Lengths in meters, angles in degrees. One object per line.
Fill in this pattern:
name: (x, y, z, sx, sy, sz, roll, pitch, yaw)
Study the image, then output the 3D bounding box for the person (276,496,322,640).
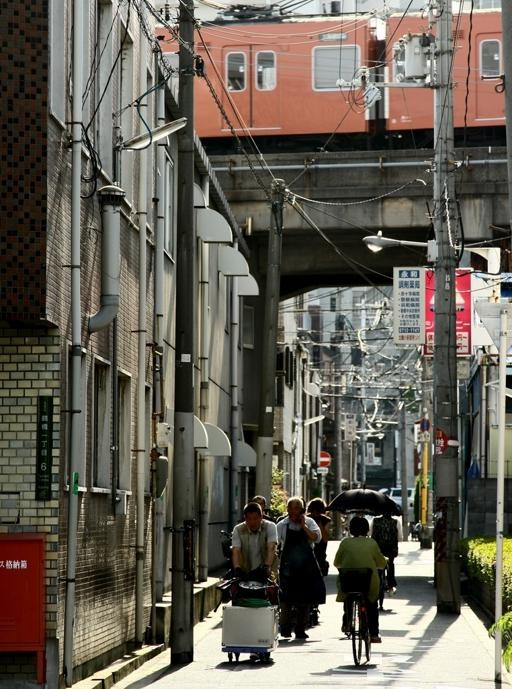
person: (0.492, 2.497, 17.084, 0.500, 1.506, 1.349, -2, -8, 1)

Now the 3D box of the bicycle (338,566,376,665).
bicycle: (1.001, 2.678, 15.177, 0.349, 0.950, 0.594, 0, -8, -12)
